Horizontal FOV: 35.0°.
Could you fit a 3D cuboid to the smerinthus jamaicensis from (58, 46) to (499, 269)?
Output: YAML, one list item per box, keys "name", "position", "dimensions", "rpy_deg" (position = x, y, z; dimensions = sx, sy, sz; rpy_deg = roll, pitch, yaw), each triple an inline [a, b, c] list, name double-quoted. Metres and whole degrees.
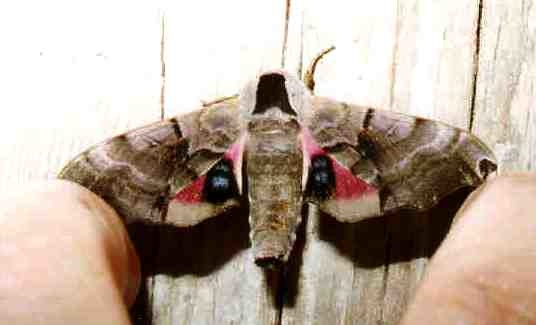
- name: "smerinthus jamaicensis"
  position: [0.046, -0.012, 2.262]
  dimensions: [0.993, 0.474, 0.167]
  rpy_deg: [0, -15, 3]
